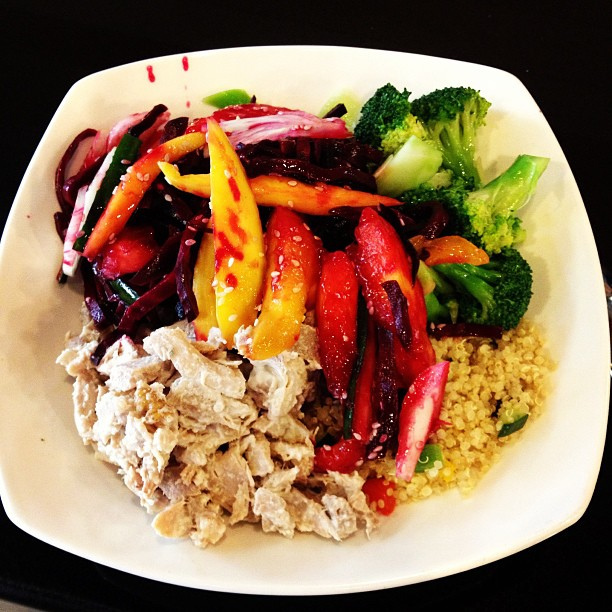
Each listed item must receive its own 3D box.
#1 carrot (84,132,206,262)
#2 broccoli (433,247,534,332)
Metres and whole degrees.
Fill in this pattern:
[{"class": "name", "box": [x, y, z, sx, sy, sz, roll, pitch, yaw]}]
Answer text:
[{"class": "carrot", "box": [-0.570, -0.379, 2.386, 0.716, 0.178, 0.146, -37, 86, 7]}, {"class": "broccoli", "box": [0.618, -0.057, 2.518, 0.375, 0.183, 0.289, 28, 57, 11]}]
